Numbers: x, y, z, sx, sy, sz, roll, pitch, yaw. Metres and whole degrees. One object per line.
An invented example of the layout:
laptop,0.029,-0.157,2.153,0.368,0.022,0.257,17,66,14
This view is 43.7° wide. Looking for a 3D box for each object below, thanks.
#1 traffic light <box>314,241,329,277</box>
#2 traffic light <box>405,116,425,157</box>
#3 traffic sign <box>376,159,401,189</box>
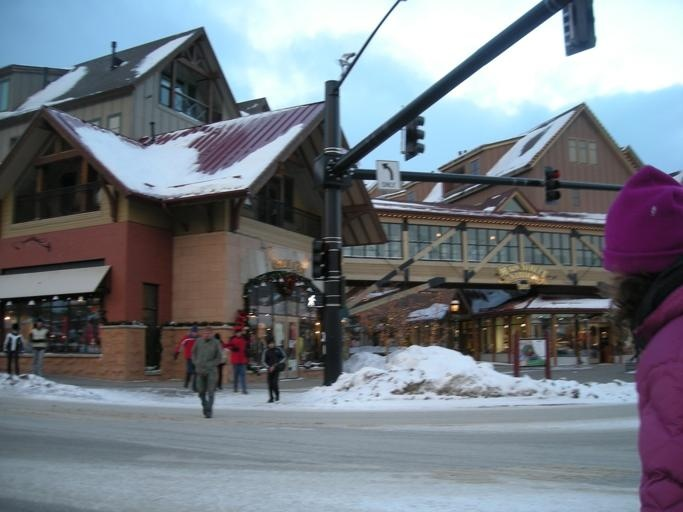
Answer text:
traffic light,-0.551,0.083,22.608,0.373,1.042,0.512,-1,-13,-3
traffic light,1.629,-2.677,19.367,0.452,0.888,1.095,-1,-12,1
traffic sign,1.192,-2.044,21.421,0.628,0.735,0.483,-1,-12,1
